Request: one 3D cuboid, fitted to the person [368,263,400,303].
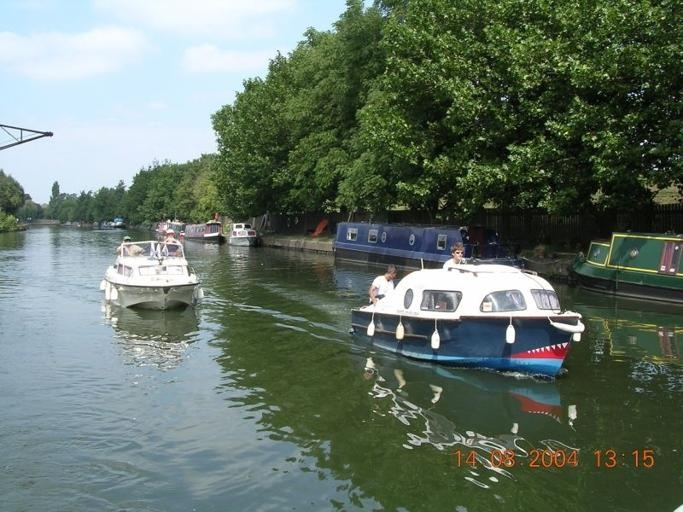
[{"bbox_3d":[1.579,1.009,22.509,0.537,1.571,0.843,30,30,-20],"label":"person"}]

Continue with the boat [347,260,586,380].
[{"bbox_3d":[3.497,1.606,16.404,2.879,1.755,5.162,3,-4,-41],"label":"boat"}]

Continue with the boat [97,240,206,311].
[{"bbox_3d":[-7.806,0.712,24.911,2.872,2.772,4.345,-6,10,-35],"label":"boat"}]

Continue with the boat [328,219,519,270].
[{"bbox_3d":[4.155,-0.465,37.525,3.096,2.546,14.596,-2,4,-31],"label":"boat"}]

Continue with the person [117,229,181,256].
[{"bbox_3d":[-8.149,-0.503,26.032,2.213,0.809,1.384,0,6,-4],"label":"person"}]
